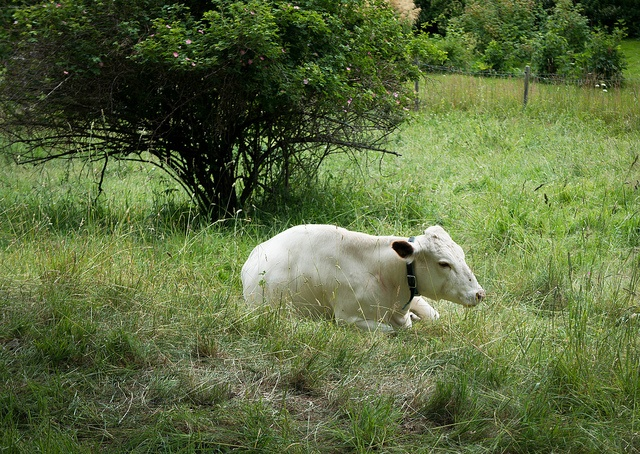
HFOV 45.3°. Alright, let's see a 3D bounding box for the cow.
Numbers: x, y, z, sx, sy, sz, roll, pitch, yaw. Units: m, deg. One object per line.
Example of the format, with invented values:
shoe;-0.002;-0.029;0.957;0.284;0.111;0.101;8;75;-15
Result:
cow;0.364;0.496;8.082;2.318;1.066;1.120;4;11;0
